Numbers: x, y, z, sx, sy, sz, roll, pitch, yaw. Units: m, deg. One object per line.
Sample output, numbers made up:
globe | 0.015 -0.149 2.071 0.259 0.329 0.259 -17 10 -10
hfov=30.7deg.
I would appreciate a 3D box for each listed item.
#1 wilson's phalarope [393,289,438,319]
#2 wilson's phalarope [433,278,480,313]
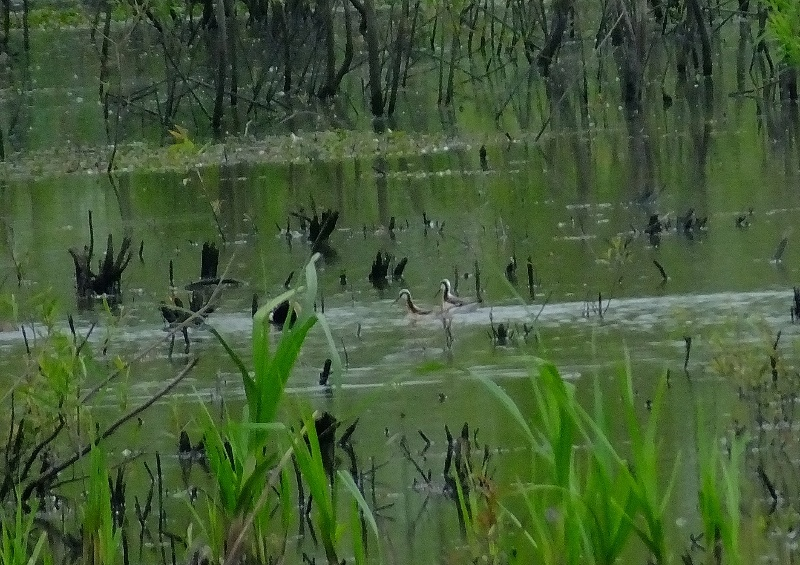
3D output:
wilson's phalarope | 0.102 0.155 10.448 0.197 0.146 0.460 -7 2 -26
wilson's phalarope | 0.431 0.100 10.434 0.286 0.156 0.284 -6 2 3
